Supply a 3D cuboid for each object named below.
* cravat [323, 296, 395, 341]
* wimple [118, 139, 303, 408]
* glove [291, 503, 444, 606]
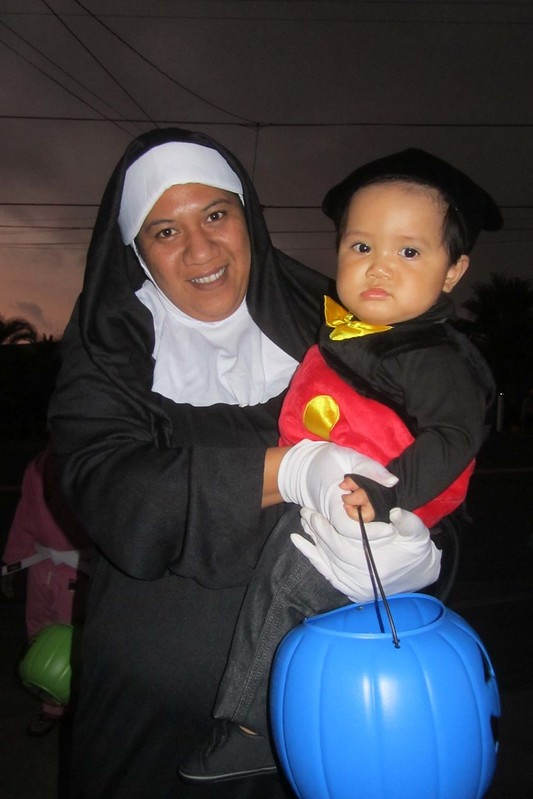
[{"bbox_3d":[0.219,-0.224,1.792,0.131,0.043,0.131,10,6,-37],"label":"cravat"},{"bbox_3d":[-0.285,-0.366,2.116,0.668,0.756,0.270,-16,5,-33],"label":"wimple"},{"bbox_3d":[0.306,0.387,1.615,0.277,0.116,0.217,6,12,26],"label":"glove"}]
